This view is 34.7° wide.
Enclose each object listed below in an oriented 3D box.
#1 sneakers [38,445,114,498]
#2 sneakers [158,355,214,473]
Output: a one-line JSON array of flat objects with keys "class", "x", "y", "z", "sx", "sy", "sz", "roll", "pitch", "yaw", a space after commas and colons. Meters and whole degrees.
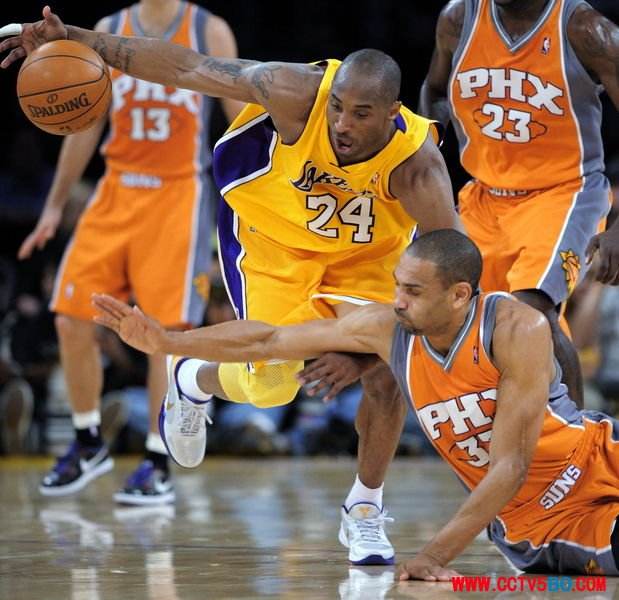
[{"class": "sneakers", "x": -1.063, "y": 0.749, "z": 4.356, "sx": 0.142, "sy": 0.150, "sz": 0.360, "roll": 1, "pitch": 9, "yaw": 40}, {"class": "sneakers", "x": -0.470, "y": 0.439, "z": 3.677, "sx": 0.166, "sy": 0.463, "sz": 0.197, "roll": -4, "pitch": 12, "yaw": -21}]
